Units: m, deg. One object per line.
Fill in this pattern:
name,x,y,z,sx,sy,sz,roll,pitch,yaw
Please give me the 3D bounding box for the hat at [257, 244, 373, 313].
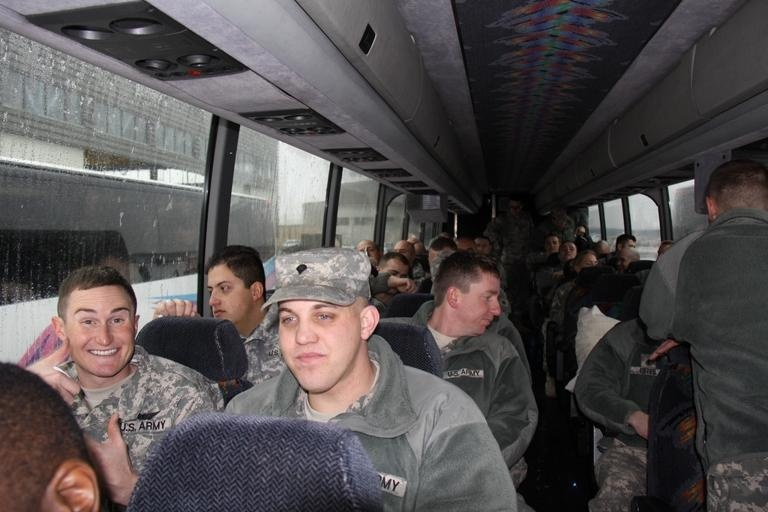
hat,-0.239,0.095,1.941,0.261,0.149,0.321,-5,-7,21
